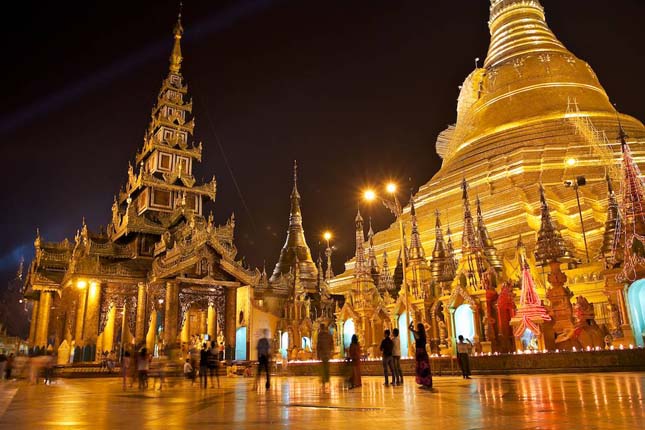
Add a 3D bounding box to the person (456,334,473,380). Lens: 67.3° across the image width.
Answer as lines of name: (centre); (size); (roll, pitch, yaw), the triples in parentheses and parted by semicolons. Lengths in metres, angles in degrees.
person: (4.684, 4.726, 16.042); (0.414, 1.409, 1.682); (-7, -25, 14)
